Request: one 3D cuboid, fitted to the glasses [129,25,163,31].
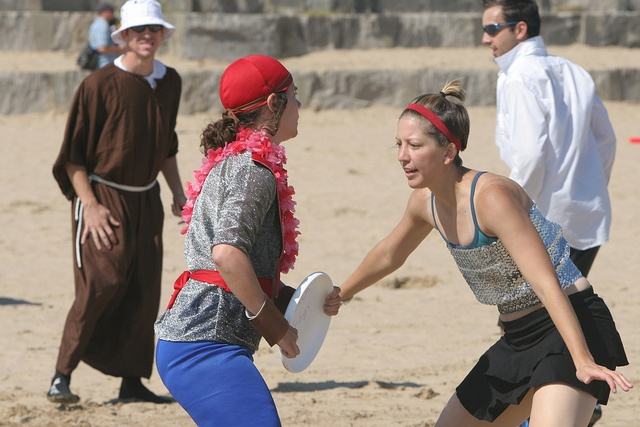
[{"bbox_3d":[-1.822,-1.936,15.567,0.318,0.085,0.061,1,9,-7],"label":"glasses"}]

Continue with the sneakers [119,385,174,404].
[{"bbox_3d":[-1.857,1.937,16.041,0.619,0.267,0.208,-1,-3,0],"label":"sneakers"}]
